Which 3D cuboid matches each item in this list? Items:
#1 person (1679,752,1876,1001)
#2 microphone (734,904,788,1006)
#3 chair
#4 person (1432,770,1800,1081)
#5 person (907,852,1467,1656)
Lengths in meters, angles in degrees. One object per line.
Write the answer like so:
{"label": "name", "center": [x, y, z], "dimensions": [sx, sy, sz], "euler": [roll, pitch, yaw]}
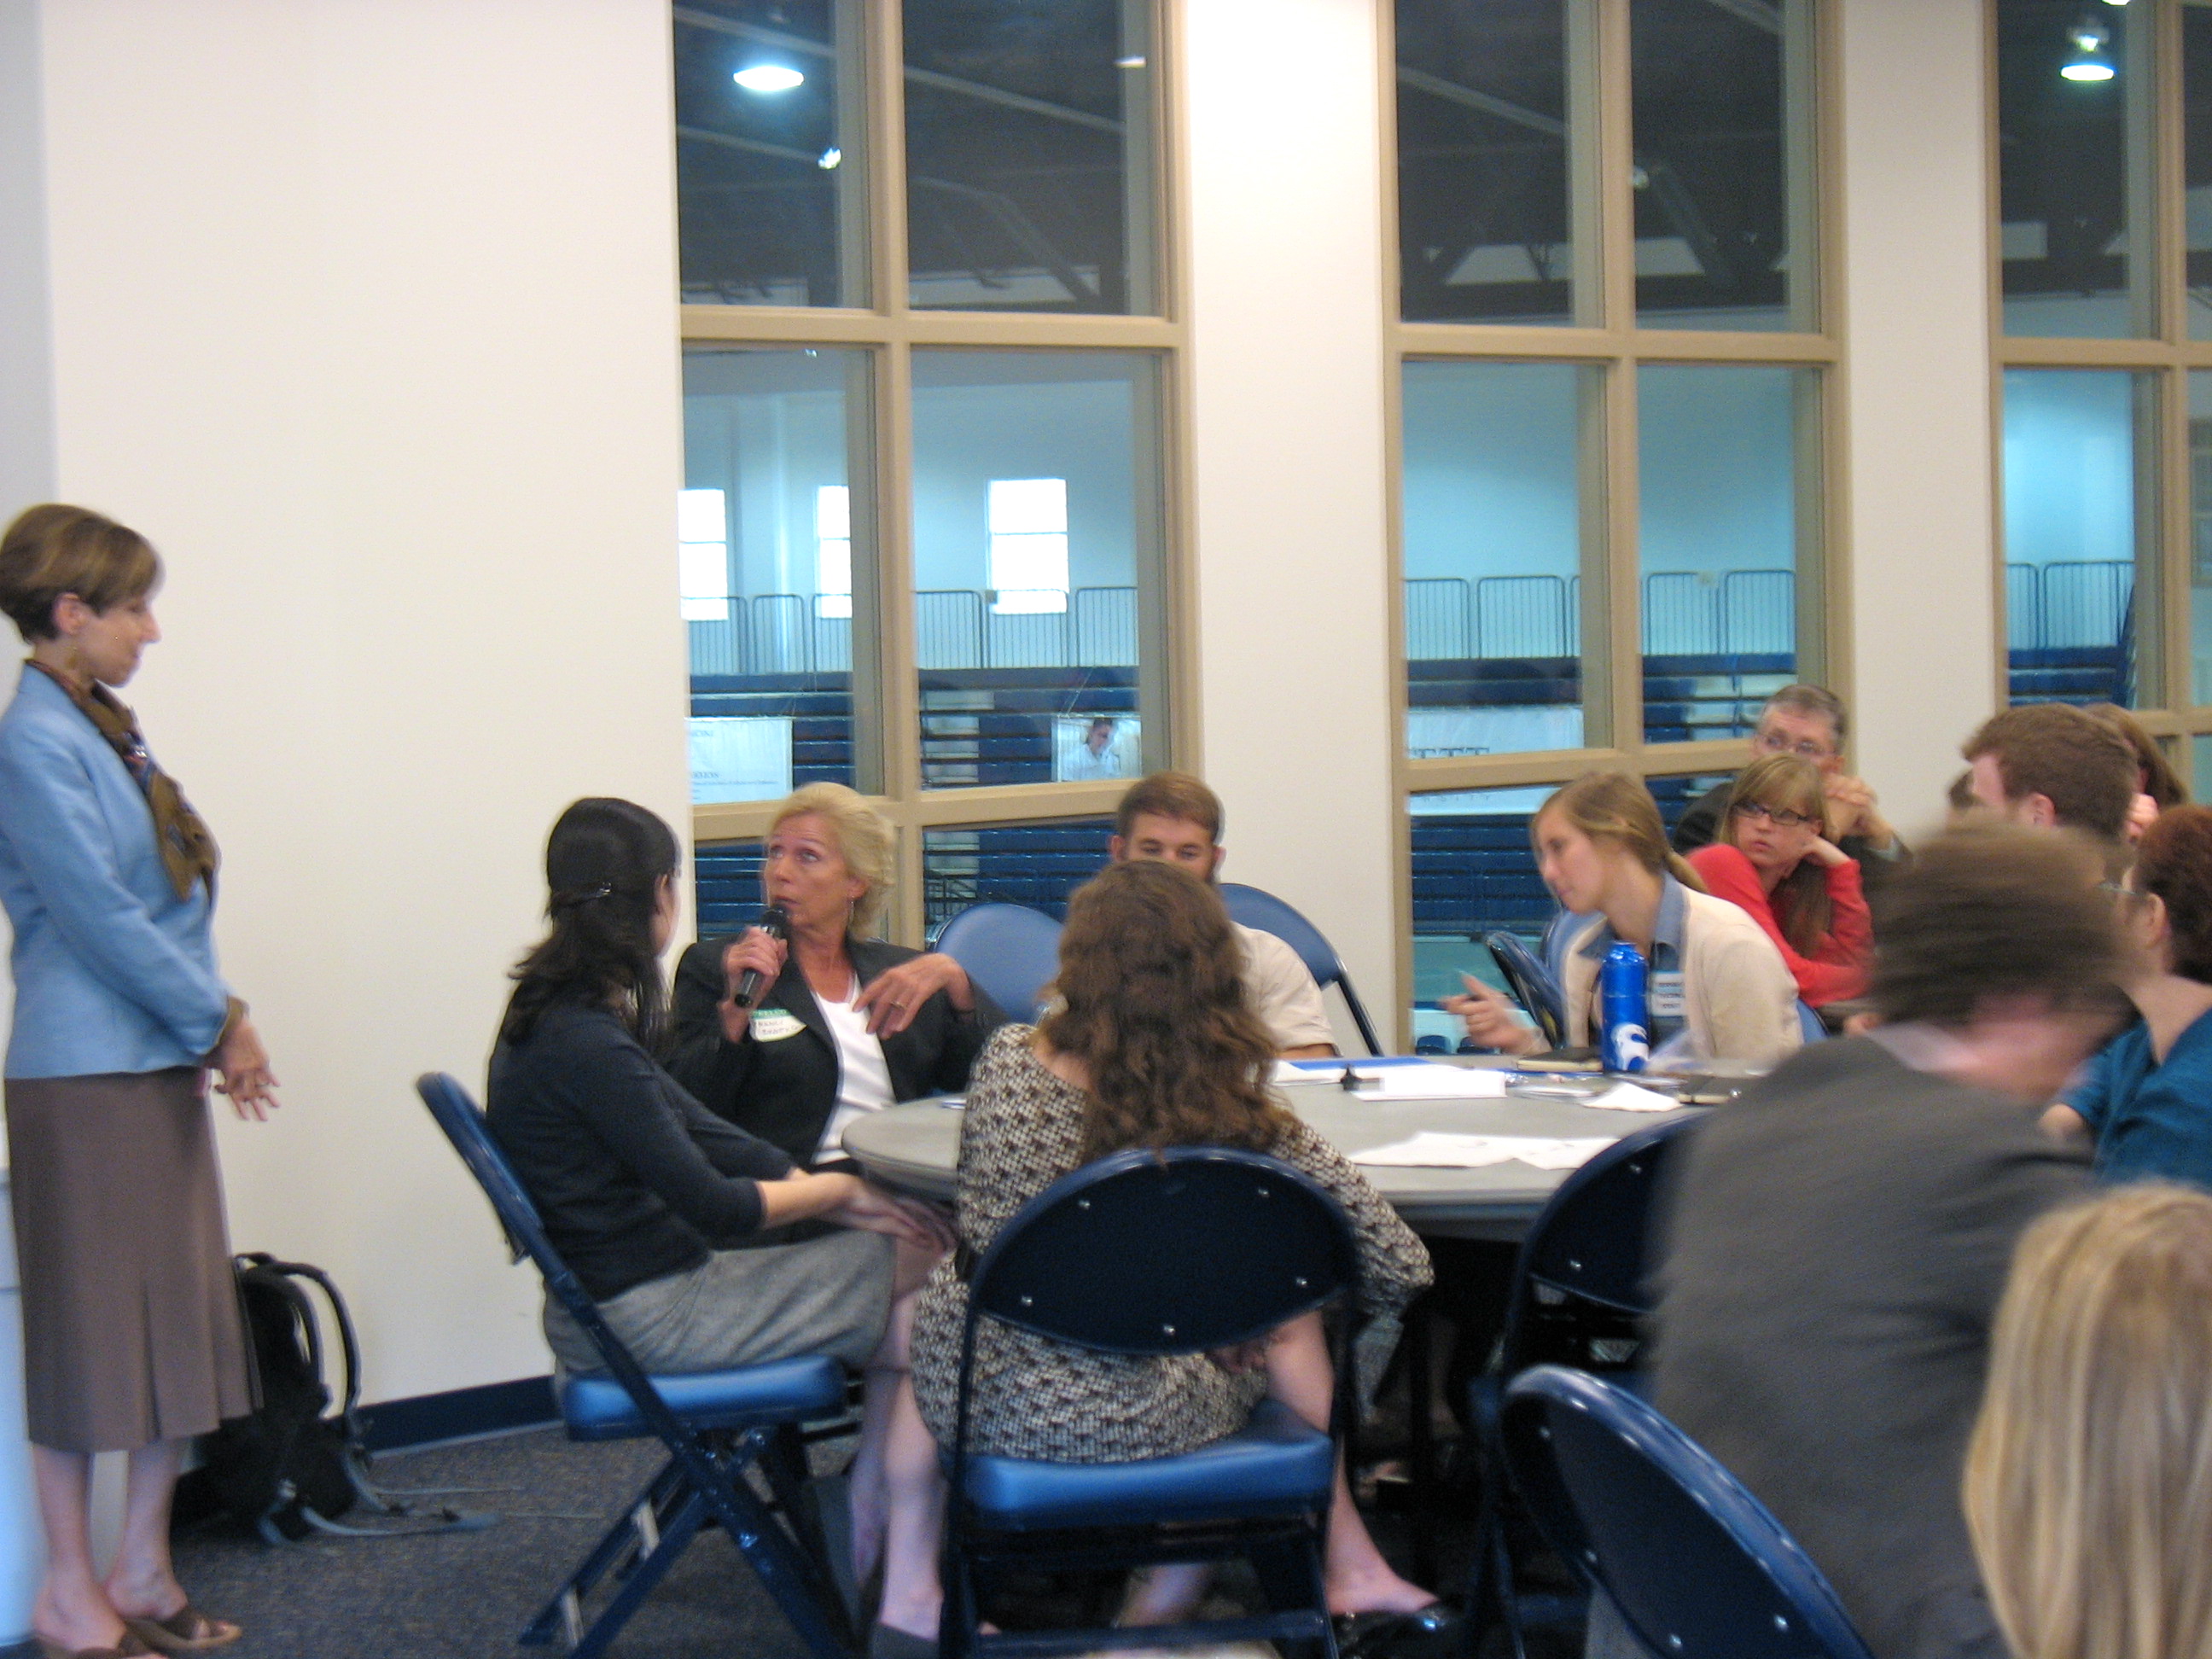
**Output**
{"label": "person", "center": [1.494, 0.119, 5.125], "dimensions": [0.343, 0.866, 0.504], "euler": [-4, -31, 17]}
{"label": "microphone", "center": [-0.671, 0.224, 4.458], "dimensions": [0.059, 0.238, 0.059], "euler": [1, -15, 20]}
{"label": "chair", "center": [0.114, 0.570, 3.675], "dimensions": [1.405, 0.696, 1.444], "euler": [-1, 0, 32]}
{"label": "person", "center": [1.051, 0.323, 5.016], "dimensions": [0.605, 1.004, 0.668], "euler": [0, -13, 1]}
{"label": "person", "center": [0.136, 0.644, 3.692], "dimensions": [0.772, 1.134, 0.764], "euler": [4, -3, 16]}
